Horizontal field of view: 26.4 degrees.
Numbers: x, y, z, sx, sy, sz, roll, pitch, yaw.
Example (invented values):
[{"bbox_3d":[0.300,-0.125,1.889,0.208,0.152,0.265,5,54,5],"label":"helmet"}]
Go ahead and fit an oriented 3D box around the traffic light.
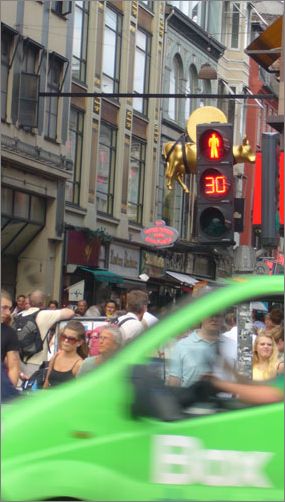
[{"bbox_3d":[0.781,-0.743,6.548,0.419,1.389,0.647,2,-2,5],"label":"traffic light"}]
